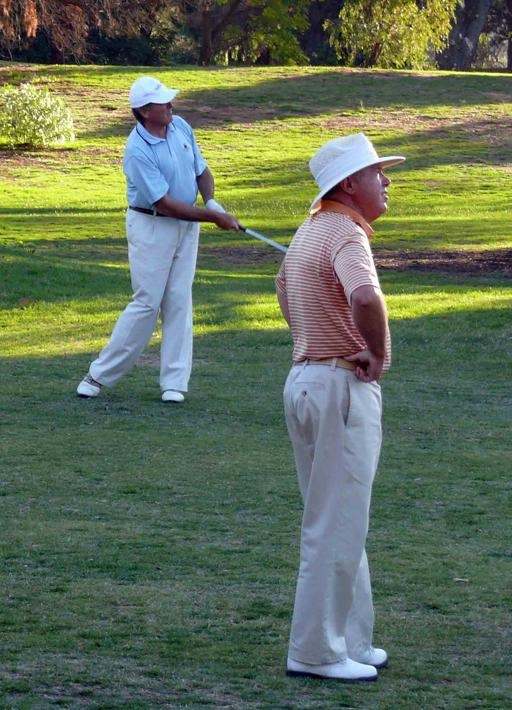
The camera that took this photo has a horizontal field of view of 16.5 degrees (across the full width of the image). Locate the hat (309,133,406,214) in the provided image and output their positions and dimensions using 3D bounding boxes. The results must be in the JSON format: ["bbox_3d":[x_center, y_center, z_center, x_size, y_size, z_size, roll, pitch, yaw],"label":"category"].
[{"bbox_3d":[0.457,-0.891,8.073,0.419,0.226,0.373,-19,-4,-32],"label":"hat"}]

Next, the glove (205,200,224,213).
[{"bbox_3d":[-0.253,-0.924,11.146,0.067,0.060,0.225,33,4,-23],"label":"glove"}]

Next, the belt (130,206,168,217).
[{"bbox_3d":[-0.688,-0.897,11.209,0.261,0.047,0.060,11,14,31],"label":"belt"}]

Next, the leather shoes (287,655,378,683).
[{"bbox_3d":[0.349,1.390,7.950,0.407,0.166,0.141,-2,-2,1],"label":"leather shoes"}]

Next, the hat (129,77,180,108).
[{"bbox_3d":[-0.624,-1.583,10.958,0.263,0.146,0.187,-8,30,0],"label":"hat"}]

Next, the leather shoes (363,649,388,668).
[{"bbox_3d":[0.550,1.352,7.950,0.118,0.054,0.059,-8,10,-31],"label":"leather shoes"}]

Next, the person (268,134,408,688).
[{"bbox_3d":[0.383,0.215,7.961,0.562,2.327,0.744,3,12,-1],"label":"person"}]

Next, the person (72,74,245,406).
[{"bbox_3d":[-0.650,-0.712,11.274,0.843,2.052,0.713,2,12,-5],"label":"person"}]
